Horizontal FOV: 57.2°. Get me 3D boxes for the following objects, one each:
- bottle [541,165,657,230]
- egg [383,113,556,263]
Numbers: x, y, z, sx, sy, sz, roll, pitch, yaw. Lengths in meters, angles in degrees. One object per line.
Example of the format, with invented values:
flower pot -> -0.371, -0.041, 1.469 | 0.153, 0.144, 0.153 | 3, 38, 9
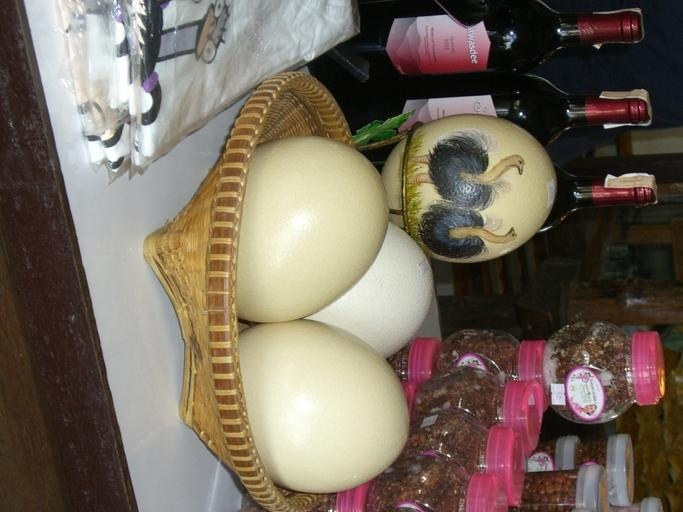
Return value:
bottle -> 0.319, -0.066, 0.785 | 0.140, 0.094, 0.091 | 11, 18, 34
egg -> 0.142, -0.072, 0.680 | 0.161, 0.145, 0.145 | -4, 44, 17
